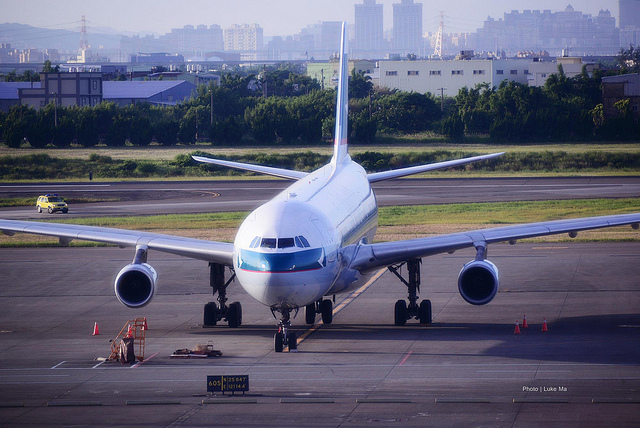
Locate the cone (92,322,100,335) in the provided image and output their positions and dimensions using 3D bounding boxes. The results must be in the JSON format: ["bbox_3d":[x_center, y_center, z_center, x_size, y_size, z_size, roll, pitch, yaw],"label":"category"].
[{"bbox_3d":[-16.867,8.719,100.125,0.663,0.701,0.675,0,-7,-7],"label":"cone"}]

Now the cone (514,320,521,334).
[{"bbox_3d":[14.826,8.489,99.501,0.648,1.055,0.630,-4,2,15],"label":"cone"}]

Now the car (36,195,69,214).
[{"bbox_3d":[-26.610,-0.982,133.246,2.900,1.403,1.683,-2,-2,43],"label":"car"}]
